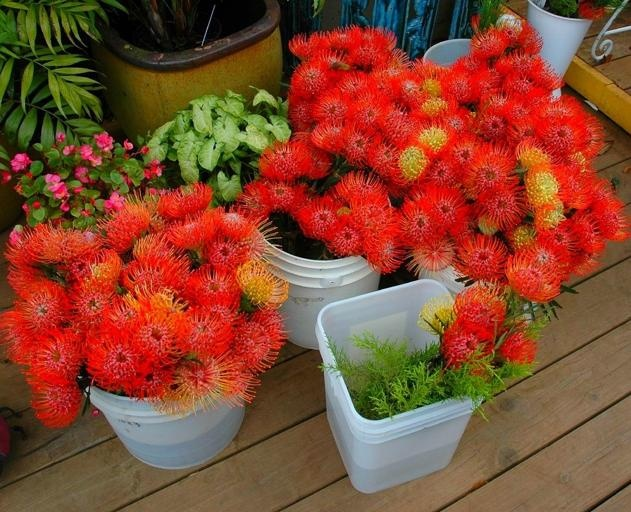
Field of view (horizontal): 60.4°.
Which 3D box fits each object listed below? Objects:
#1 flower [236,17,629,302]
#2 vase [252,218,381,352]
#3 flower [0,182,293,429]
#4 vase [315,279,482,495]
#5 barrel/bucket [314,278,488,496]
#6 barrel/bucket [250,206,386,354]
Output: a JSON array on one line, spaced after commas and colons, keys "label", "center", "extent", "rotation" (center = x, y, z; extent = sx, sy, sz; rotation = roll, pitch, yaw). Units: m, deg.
[{"label": "flower", "center": [0.282, -0.189, 1.498], "extent": [0.729, 0.438, 0.735], "rotation": [-2, 73, 5]}, {"label": "vase", "center": [0.003, 0.072, 1.351], "extent": [0.259, 0.201, 0.269], "rotation": [9, 52, 4]}, {"label": "flower", "center": [-0.343, 0.166, 1.228], "extent": [0.568, 0.528, 0.465], "rotation": [-2, 54, -3]}, {"label": "vase", "center": [0.176, 0.279, 1.159], "extent": [0.322, 0.381, 0.294], "rotation": [-15, 57, -11]}, {"label": "barrel/bucket", "center": [0.180, 0.281, 1.160], "extent": [0.319, 0.380, 0.303], "rotation": [0, 57, -1]}, {"label": "barrel/bucket", "center": [0.001, 0.062, 1.354], "extent": [0.240, 0.186, 0.233], "rotation": [1, 50, -1]}]
